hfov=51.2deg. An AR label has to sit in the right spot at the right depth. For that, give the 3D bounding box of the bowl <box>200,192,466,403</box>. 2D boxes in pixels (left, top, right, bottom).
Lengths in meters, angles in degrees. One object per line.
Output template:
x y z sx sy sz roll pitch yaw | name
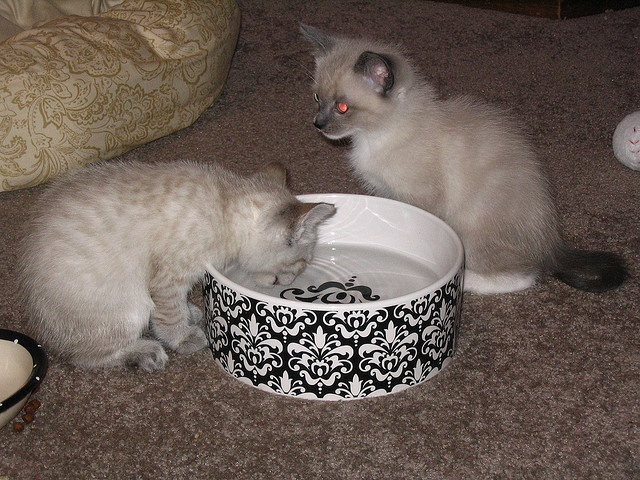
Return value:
0.066 0.121 2.004 0.730 0.389 0.750 0 52 0 | bowl

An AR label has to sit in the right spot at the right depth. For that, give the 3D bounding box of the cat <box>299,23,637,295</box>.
0.446 -0.397 2.504 1.277 0.914 0.550 13 36 9 | cat

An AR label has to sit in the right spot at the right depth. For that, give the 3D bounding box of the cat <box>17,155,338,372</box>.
-0.397 0.043 2.158 0.906 0.587 0.528 0 29 -9 | cat
